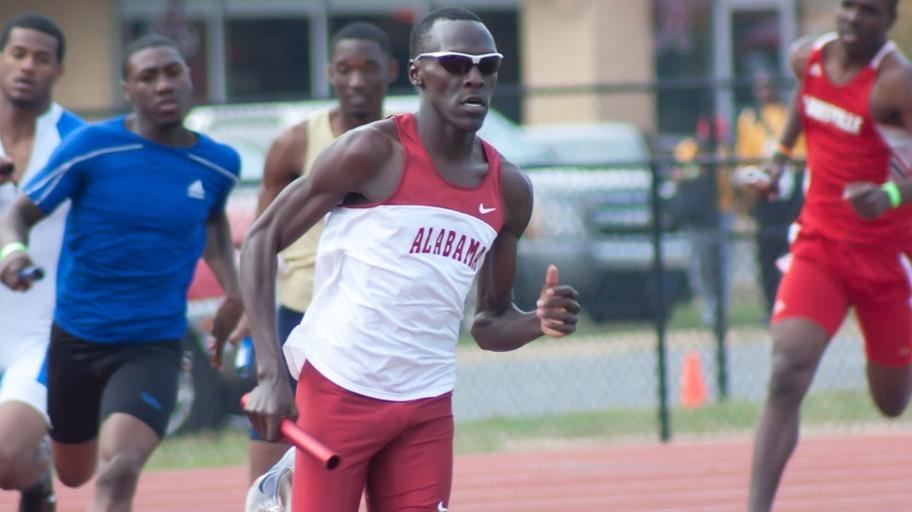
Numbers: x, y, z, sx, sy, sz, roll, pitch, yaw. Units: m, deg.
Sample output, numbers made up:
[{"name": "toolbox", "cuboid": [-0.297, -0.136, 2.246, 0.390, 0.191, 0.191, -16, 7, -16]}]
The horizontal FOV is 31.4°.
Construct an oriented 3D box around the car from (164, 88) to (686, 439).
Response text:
[{"name": "car", "cuboid": [-0.308, -0.303, 17.846, 5.456, 2.786, 3.038, -4, -2, 6]}]
